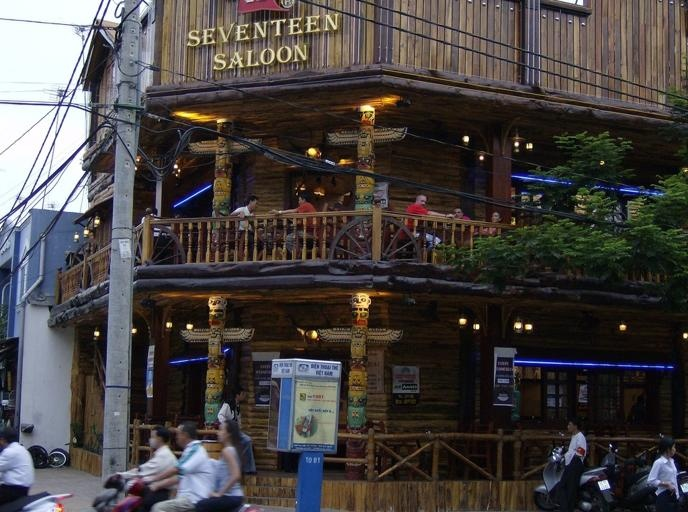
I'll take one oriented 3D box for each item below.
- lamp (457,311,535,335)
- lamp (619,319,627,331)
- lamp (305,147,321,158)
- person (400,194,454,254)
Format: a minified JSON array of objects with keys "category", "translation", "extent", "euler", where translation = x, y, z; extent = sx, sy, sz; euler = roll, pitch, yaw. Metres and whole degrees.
[{"category":"lamp","translation":[4.200,1.863,35.323],"extent":[2.161,0.459,1.184],"euler":[1,-10,-3]},{"category":"lamp","translation":[7.850,2.011,36.446],"extent":[0.261,0.293,0.261],"euler":[-1,-3,11]},{"category":"lamp","translation":[-0.871,-2.820,35.611],"extent":[0.391,0.278,0.381],"euler":[-3,5,-39]},{"category":"person","translation":[2.113,-0.651,32.844],"extent":[1.307,1.790,0.875],"euler":[2,0,-1]}]
